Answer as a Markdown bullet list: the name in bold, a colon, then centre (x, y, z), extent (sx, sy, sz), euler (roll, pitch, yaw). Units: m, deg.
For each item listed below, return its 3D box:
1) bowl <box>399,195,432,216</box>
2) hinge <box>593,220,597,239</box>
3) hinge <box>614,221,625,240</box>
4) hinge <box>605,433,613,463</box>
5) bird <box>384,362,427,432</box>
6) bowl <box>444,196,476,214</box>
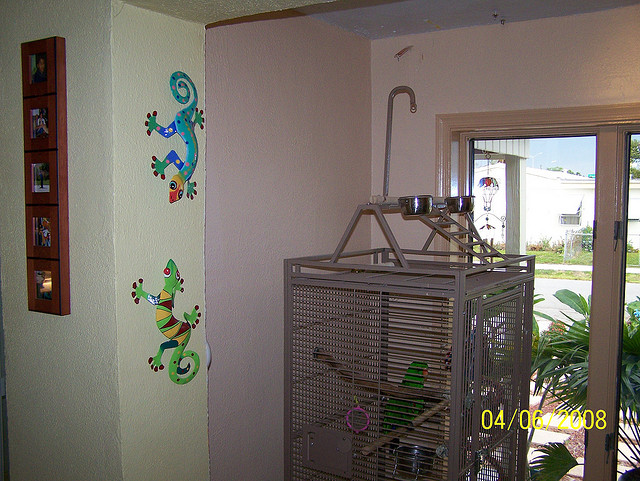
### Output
- **bowl**: centre (0.416, -0.152, 2.460), extent (0.133, 0.088, 0.145), euler (1, 5, 0)
- **hinge**: centre (1.568, -0.063, 3.200), extent (0.005, 0.107, 0.026), euler (-3, 6, -40)
- **hinge**: centre (1.679, -0.058, 3.149), extent (0.053, 0.099, 0.008), euler (0, 5, 0)
- **hinge**: centre (1.653, 1.180, 3.211), extent (0.042, 0.162, 0.008), euler (1, 5, 11)
- **bird**: centre (0.367, 0.659, 2.439), extent (0.184, 0.484, 0.147), euler (7, 43, 15)
- **bowl**: centre (0.676, -0.163, 2.692), extent (0.088, 0.054, 0.091), euler (1, 2, 0)
